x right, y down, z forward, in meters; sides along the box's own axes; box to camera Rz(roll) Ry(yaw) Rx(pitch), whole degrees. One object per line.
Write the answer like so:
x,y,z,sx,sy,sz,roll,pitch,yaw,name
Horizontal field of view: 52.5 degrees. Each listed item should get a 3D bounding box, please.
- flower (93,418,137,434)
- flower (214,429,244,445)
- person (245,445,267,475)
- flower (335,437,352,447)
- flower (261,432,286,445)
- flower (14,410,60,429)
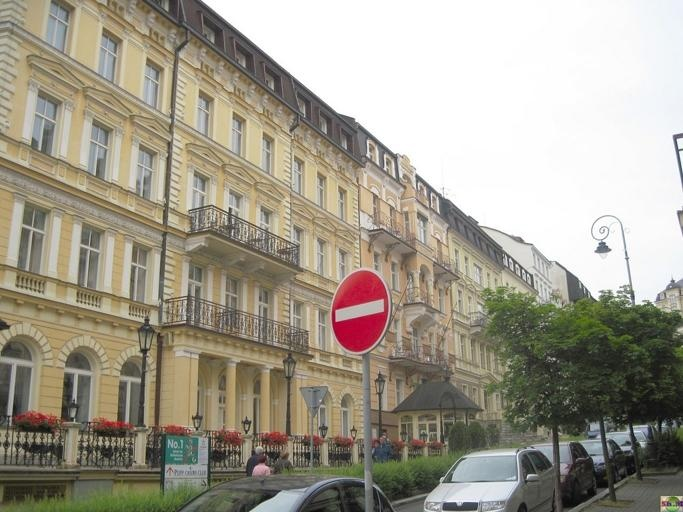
-7.398,5.517,22.524,1.244,0.605,0.752,5,-25,-20,flower
-4.276,6.783,26.000,0.650,0.409,0.698,10,-9,10,flower
-2.774,6.515,21.949,0.666,1.077,1.066,3,-26,-1,person
0.023,8.420,31.652,0.530,0.332,0.560,6,-15,-17,flower
-2.745,7.342,27.975,0.615,0.485,0.649,2,-6,-25,flower
-8.970,4.855,20.314,0.684,0.382,0.739,-3,-13,21,flower
